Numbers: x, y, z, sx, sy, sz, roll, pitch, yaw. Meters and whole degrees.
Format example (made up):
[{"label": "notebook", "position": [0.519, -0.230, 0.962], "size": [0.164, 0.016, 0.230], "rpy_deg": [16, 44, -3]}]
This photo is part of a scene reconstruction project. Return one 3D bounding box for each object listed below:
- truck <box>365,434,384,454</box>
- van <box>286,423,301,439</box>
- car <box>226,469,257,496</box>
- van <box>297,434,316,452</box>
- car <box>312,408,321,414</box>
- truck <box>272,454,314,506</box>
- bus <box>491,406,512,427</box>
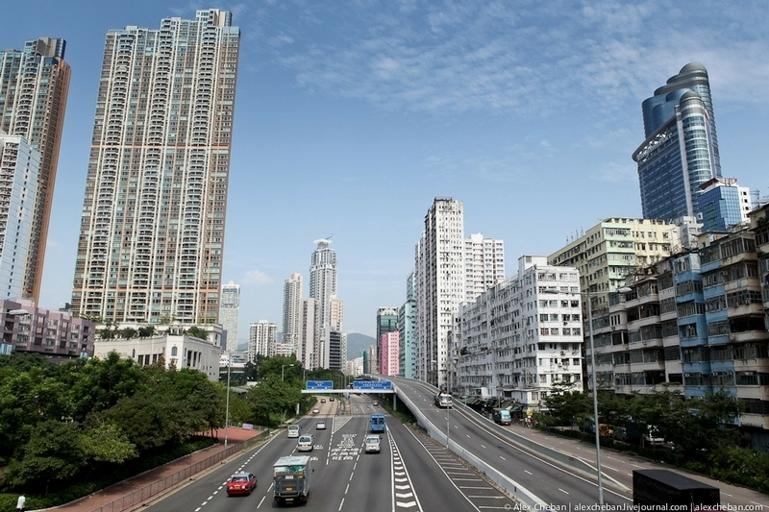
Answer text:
[{"label": "truck", "position": [-2.012, 35.716, 117.806], "size": [3.022, 1.851, 4.187], "rpy_deg": [1, -1, 2]}, {"label": "van", "position": [-19.751, 38.566, 137.441], "size": [2.362, 2.636, 3.200], "rpy_deg": [2, -14, 0]}, {"label": "car", "position": [-21.590, 34.834, 95.613], "size": [3.164, 3.047, 3.924], "rpy_deg": [-1, -14, 10]}, {"label": "van", "position": [-14.861, 35.985, 120.360], "size": [2.236, 1.576, 3.622], "rpy_deg": [0, -4, 1]}, {"label": "car", "position": [-21.018, 48.301, 194.851], "size": [2.002, 1.282, 3.874], "rpy_deg": [1, -16, -7]}, {"label": "truck", "position": [-13.437, 33.096, 91.670], "size": [4.743, 6.578, 4.303], "rpy_deg": [2, -14, -1]}, {"label": "bus", "position": [28.569, 38.473, 148.791], "size": [3.311, 2.498, 5.115], "rpy_deg": [1, -26, -4]}]
